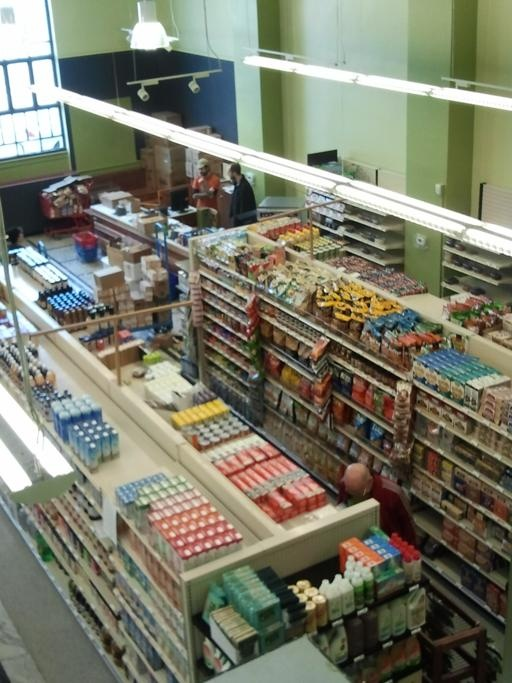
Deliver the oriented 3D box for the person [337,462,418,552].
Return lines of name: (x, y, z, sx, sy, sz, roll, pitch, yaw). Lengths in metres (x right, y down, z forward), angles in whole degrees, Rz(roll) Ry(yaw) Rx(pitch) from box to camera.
person: (0.856, 1.142, 4.153, 0.530, 0.689, 0.419, -1, 22, 7)
